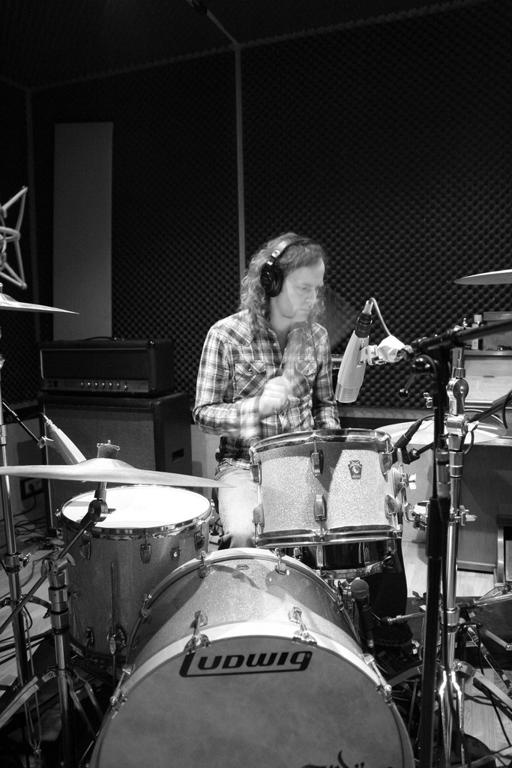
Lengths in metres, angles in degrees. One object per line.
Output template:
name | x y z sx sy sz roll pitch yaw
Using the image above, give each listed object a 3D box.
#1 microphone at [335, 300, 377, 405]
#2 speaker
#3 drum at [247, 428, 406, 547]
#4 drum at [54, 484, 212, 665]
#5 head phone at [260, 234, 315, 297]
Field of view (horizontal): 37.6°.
microphone | 0.238 -0.078 1.830 0.087 0.247 0.279 0 -1 7
speaker | -0.730 -0.070 3.494 0.654 0.252 0.170 -1 -1 30
drum | 0.171 0.255 1.789 0.283 0.208 0.304 -2 -16 -1
drum | -0.315 0.456 2.045 0.395 0.400 0.412 0 6 -6
head phone | 0.105 -0.380 2.470 0.075 0.182 0.187 21 26 31
